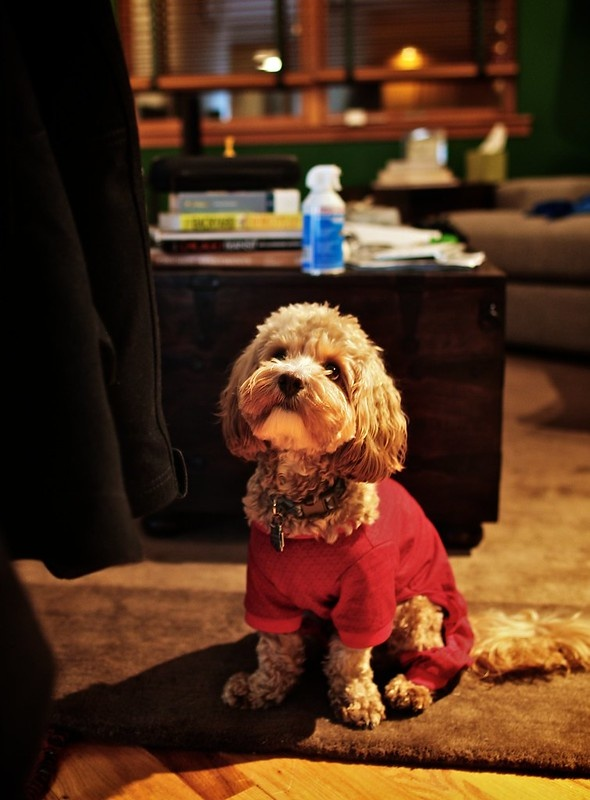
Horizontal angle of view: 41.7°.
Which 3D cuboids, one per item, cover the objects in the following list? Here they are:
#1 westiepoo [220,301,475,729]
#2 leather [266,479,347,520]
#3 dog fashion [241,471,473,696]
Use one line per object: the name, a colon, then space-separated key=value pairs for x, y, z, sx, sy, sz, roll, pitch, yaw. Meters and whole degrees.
westiepoo: x=0.089 y=0.189 z=1.389 sx=0.498 sy=0.654 sz=0.418 roll=3 pitch=2 yaw=-28
leather: x=0.025 y=0.165 z=1.242 sx=0.083 sy=0.026 sz=0.064 roll=-20 pitch=9 yaw=8
dog fashion: x=0.122 y=0.318 z=1.345 sx=0.368 sy=0.321 sz=0.303 roll=2 pitch=28 yaw=11
